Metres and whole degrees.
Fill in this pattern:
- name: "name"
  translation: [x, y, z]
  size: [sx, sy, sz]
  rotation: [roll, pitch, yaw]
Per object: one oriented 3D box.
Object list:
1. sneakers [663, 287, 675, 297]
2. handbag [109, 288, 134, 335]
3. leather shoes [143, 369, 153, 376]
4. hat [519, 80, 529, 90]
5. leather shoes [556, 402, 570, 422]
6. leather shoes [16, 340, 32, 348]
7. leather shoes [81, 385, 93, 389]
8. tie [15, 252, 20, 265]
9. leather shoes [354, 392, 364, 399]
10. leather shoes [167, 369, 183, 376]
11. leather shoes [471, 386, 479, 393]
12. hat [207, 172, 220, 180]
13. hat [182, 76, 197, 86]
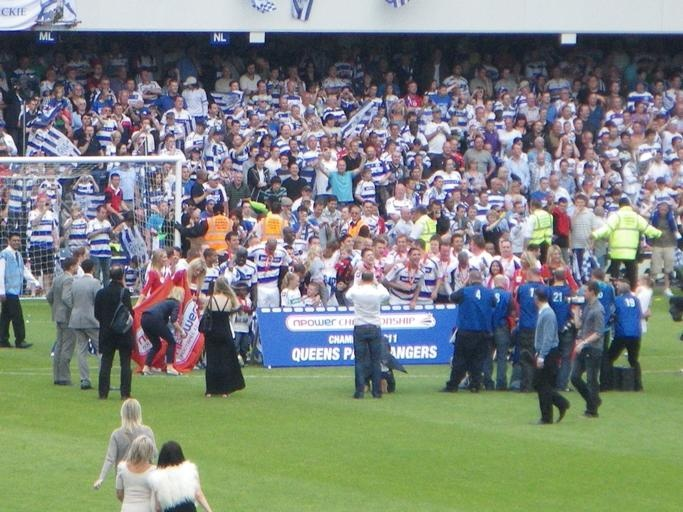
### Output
- name: "sneakers"
  translation: [8.521, 0.925, 41.646]
  size: [0.193, 0.267, 0.582]
  rotation: [-1, -5, -6]
- name: "handbag"
  translation: [-4.498, 1.109, 32.319]
  size: [0.453, 0.953, 0.242]
  rotation: [1, -2, -11]
- name: "leather shoes"
  translation: [-4.224, 2.490, 34.615]
  size: [0.237, 0.190, 0.255]
  rotation: [1, -2, -16]
- name: "hat"
  translation: [5.179, -4.885, 45.109]
  size: [0.258, 0.364, 0.368]
  rotation: [-6, 1, 4]
- name: "leather shoes"
  translation: [4.421, 3.087, 31.711]
  size: [0.228, 0.534, 0.178]
  rotation: [4, 28, -7]
- name: "leather shoes"
  translation: [-7.281, 2.020, 36.434]
  size: [0.369, 0.127, 0.264]
  rotation: [-7, -10, -24]
- name: "leather shoes"
  translation: [-5.352, 2.716, 33.192]
  size: [0.231, 0.111, 0.198]
  rotation: [1, -2, -4]
- name: "tie"
  translation: [-7.396, 0.017, 36.295]
  size: [0.121, 0.296, 0.259]
  rotation: [1, -2, -5]
- name: "leather shoes"
  translation: [0.331, 2.875, 33.003]
  size: [0.214, 0.128, 0.107]
  rotation: [0, -2, 12]
- name: "leather shoes"
  translation: [-3.675, 2.521, 34.613]
  size: [0.275, 0.126, 0.116]
  rotation: [-2, 3, -2]
- name: "leather shoes"
  translation: [2.817, 2.819, 33.739]
  size: [0.128, 0.075, 0.133]
  rotation: [3, -3, -20]
- name: "hat"
  translation: [-3.259, -2.053, 40.263]
  size: [0.401, 0.216, 0.274]
  rotation: [6, 3, -13]
- name: "hat"
  translation: [-4.134, -4.758, 42.996]
  size: [0.340, 0.182, 0.259]
  rotation: [5, 20, 3]
